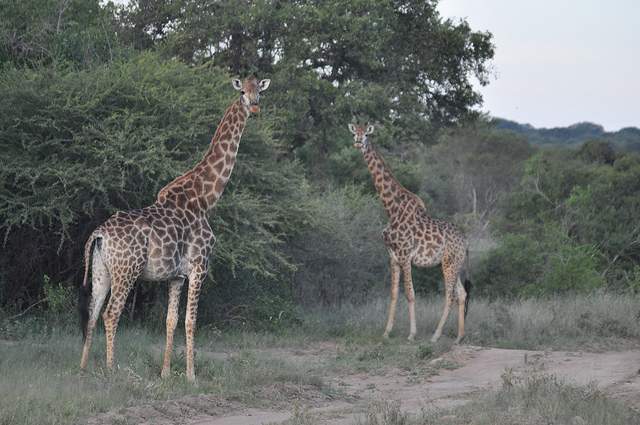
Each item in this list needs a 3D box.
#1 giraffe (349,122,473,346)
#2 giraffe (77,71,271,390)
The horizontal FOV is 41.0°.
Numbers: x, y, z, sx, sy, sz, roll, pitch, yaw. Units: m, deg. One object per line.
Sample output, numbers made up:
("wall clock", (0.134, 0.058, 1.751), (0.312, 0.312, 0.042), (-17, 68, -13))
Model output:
("giraffe", (2.820, 0.673, 25.926), (3.542, 6.327, 1.842), (6, 12, 15))
("giraffe", (-3.942, 0.297, 21.901), (4.297, 7.326, 1.915), (-1, 12, -19))
